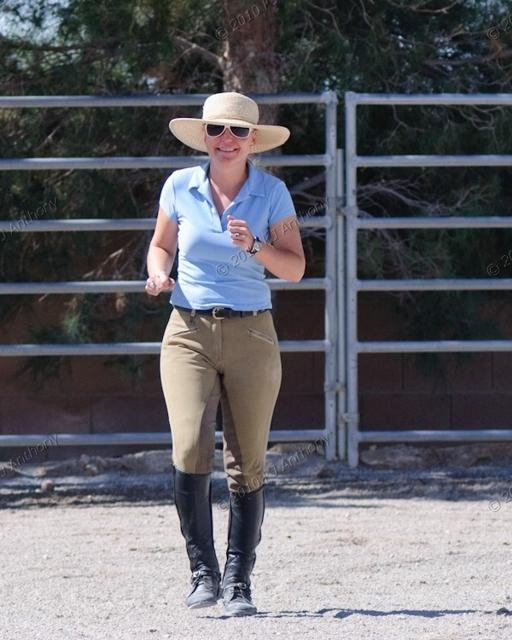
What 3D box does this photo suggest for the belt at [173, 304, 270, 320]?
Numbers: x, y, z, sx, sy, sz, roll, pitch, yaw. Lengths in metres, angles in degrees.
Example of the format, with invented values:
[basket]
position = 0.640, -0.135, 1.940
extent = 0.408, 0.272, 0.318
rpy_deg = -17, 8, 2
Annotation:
[belt]
position = -0.149, -0.041, 7.178
extent = 0.363, 0.049, 0.097
rpy_deg = 0, 15, 0

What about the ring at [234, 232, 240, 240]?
[ring]
position = -0.080, -0.348, 7.006
extent = 0.021, 0.031, 0.013
rpy_deg = 0, 0, -4

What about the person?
[person]
position = -0.098, 0.175, 7.180
extent = 0.646, 1.951, 0.702
rpy_deg = -3, 14, -9

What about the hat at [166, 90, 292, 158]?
[hat]
position = -0.144, -0.910, 7.930
extent = 0.422, 0.149, 0.443
rpy_deg = 5, -16, 2

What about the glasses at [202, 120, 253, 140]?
[glasses]
position = -0.122, -0.792, 7.192
extent = 0.183, 0.064, 0.041
rpy_deg = 0, 14, 2

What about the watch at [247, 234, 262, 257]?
[watch]
position = -0.003, -0.306, 7.066
extent = 0.046, 0.076, 0.065
rpy_deg = 16, 2, -32

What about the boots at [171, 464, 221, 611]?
[boots]
position = -0.242, 0.918, 7.160
extent = 0.185, 0.564, 0.326
rpy_deg = -1, 14, -4
